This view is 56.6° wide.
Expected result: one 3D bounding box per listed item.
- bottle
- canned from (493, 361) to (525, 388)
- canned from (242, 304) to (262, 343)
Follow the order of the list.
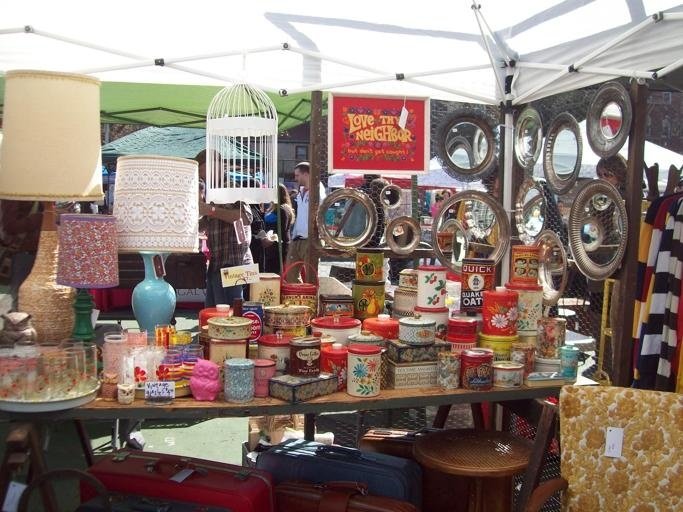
[{"bbox_3d":[-0.905,0.458,3.017,0.367,0.144,0.268,1,3,17],"label":"bottle"},{"bbox_3d":[0.854,0.610,3.246,0.130,0.081,0.129,-1,0,10],"label":"canned"},{"bbox_3d":[-0.453,0.345,3.254,0.110,0.187,0.244,-2,3,-7],"label":"canned"}]
